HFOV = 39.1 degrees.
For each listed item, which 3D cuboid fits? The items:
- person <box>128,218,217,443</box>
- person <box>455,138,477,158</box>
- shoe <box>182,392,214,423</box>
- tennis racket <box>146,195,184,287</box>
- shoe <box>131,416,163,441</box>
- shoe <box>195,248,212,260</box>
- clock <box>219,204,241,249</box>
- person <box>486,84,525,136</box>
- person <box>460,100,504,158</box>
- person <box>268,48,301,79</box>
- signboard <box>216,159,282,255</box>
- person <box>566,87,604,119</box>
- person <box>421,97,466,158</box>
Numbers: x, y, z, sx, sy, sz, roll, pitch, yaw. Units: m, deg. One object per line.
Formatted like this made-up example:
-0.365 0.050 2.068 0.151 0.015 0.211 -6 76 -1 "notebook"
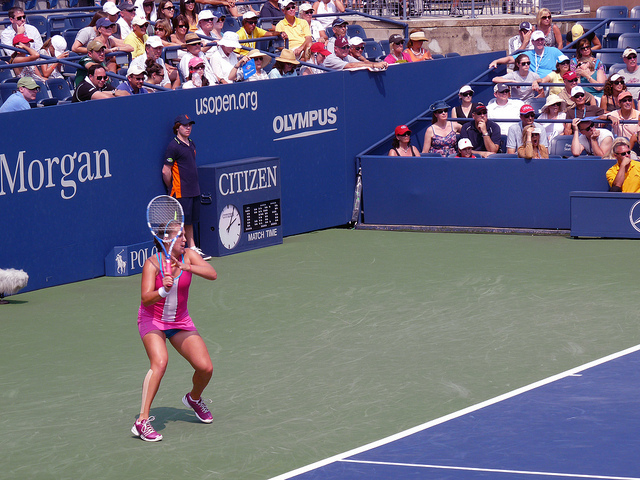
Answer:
-1.432 0.871 8.717 0.898 2.122 0.518 -6 9 -21 "person"
2.634 -1.678 16.396 0.451 0.339 0.733 1 -1 3 "person"
-1.235 1.696 9.165 0.293 0.344 0.211 -5 8 -12 "shoe"
-1.523 0.084 9.003 0.365 1.299 0.089 5 43 -1 "tennis racket"
-1.679 1.846 8.728 0.281 0.266 0.181 -4 8 -11 "shoe"
-1.596 0.188 12.459 0.280 0.122 0.096 18 30 40 "shoe"
-1.499 -0.226 14.809 0.066 0.817 0.691 2 6 33 "clock"
3.565 -2.556 17.380 0.719 1.038 0.956 1 0 7 "person"
2.961 -2.013 16.723 0.879 1.144 0.957 12 20 38 "person"
-0.667 -3.252 16.494 0.589 0.543 1.079 -3 8 -1 "person"
-1.060 -0.551 15.318 1.508 1.451 0.523 -8 -13 34 "signboard"
4.768 -2.488 16.244 0.518 0.279 0.711 -5 12 1 "person"
2.371 -2.140 17.316 1.247 1.112 0.553 -11 20 -21 "person"
